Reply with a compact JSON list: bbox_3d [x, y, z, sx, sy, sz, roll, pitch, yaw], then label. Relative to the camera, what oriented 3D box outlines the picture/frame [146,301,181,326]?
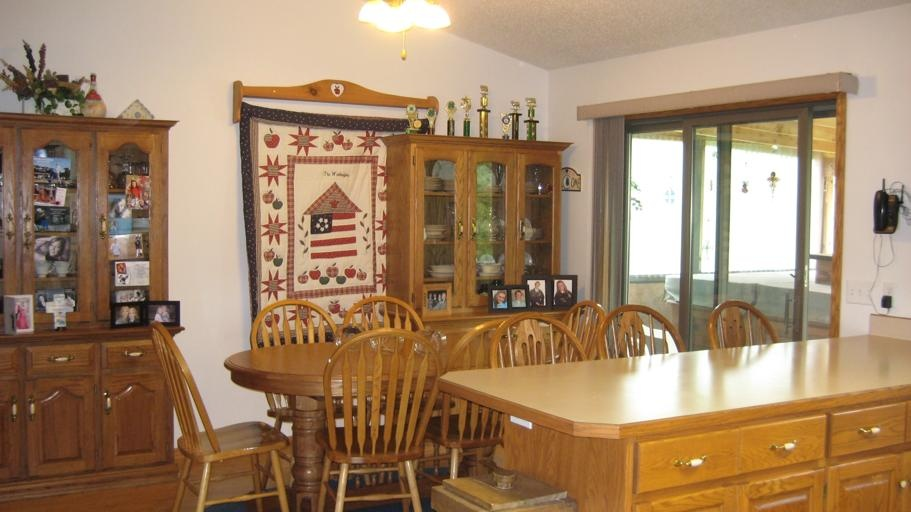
[{"bbox_3d":[-2.464,0.483,5.877,0.245,0.175,0.119,0,-2,-24],"label":"picture/frame"}]

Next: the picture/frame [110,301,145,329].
[{"bbox_3d":[-2.750,0.496,5.847,0.252,0.181,0.034,0,-4,-26],"label":"picture/frame"}]

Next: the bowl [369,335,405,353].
[{"bbox_3d":[-0.509,0.667,5.268,0.216,0.078,0.238,1,-8,4],"label":"bowl"}]

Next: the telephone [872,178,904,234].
[{"bbox_3d":[3.375,-0.372,5.459,0.202,0.422,0.165,6,15,30],"label":"telephone"}]

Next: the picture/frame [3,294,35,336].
[{"bbox_3d":[-3.514,0.471,5.604,0.220,0.299,0.158,-4,13,-9],"label":"picture/frame"}]
